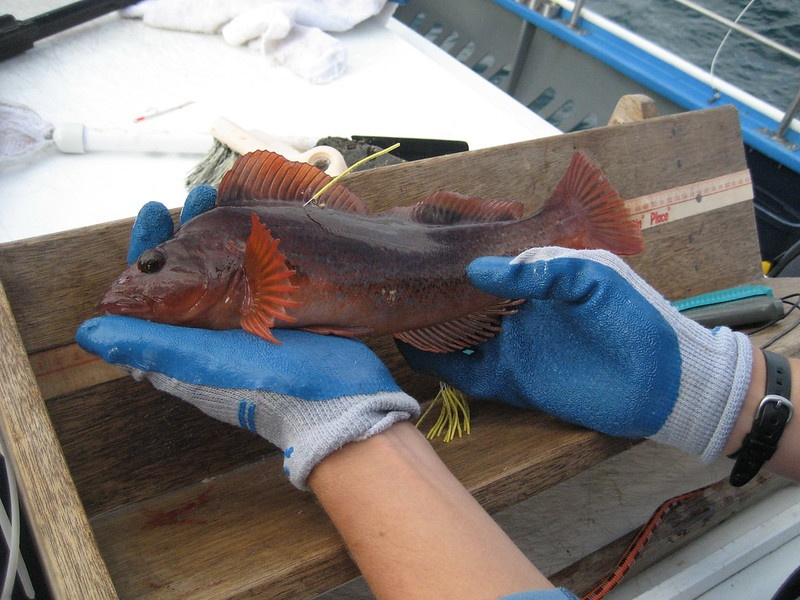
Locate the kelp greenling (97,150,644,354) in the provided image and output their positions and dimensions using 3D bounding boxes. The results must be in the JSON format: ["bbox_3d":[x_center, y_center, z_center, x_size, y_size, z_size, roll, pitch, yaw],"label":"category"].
[{"bbox_3d":[-0.052,-0.090,1.186,0.889,0.147,0.201,-6,107,-7],"label":"kelp greenling"}]

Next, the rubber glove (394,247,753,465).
[{"bbox_3d":[0.280,0.106,1.250,0.696,0.255,0.174,20,89,-16],"label":"rubber glove"}]

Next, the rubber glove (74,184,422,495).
[{"bbox_3d":[-0.210,0.117,1.136,0.427,0.162,0.268,38,68,16],"label":"rubber glove"}]
